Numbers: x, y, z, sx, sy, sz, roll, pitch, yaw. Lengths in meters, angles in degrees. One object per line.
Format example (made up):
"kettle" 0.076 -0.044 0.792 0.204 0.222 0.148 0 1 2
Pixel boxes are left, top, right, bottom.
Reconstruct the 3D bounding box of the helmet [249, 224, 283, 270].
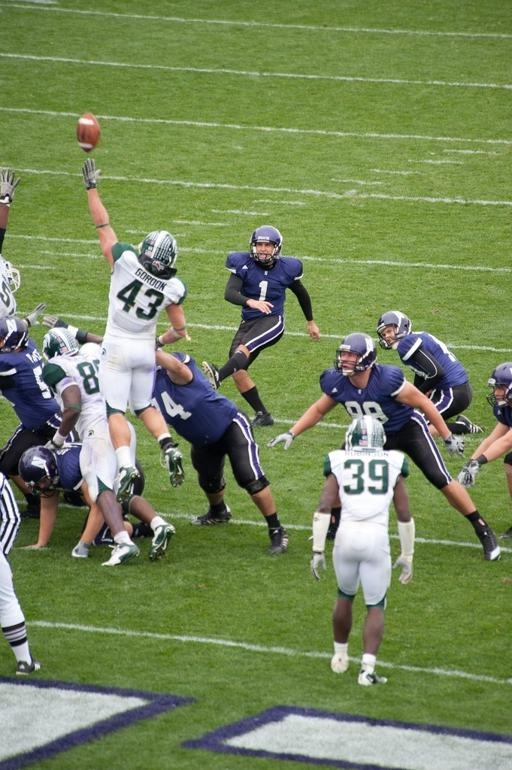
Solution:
"helmet" 0.086 -1.149 8.837 0.273 0.296 0.347 1 7 8

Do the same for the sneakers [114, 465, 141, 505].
"sneakers" -0.717 0.575 5.941 0.107 0.253 0.112 12 29 -19

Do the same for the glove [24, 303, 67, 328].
"glove" -1.848 -0.605 9.314 0.392 0.189 0.571 -10 10 -16

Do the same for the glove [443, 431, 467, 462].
"glove" 1.303 0.395 7.156 0.123 0.201 0.272 -11 -21 37

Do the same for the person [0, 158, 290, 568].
"person" -0.546 -0.163 6.393 1.183 2.281 1.047 -7 16 -31

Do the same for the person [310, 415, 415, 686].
"person" 0.484 0.771 4.983 0.455 1.172 0.563 4 14 10

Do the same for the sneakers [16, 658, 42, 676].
"sneakers" -1.048 1.285 4.947 0.050 0.056 0.144 10 12 25

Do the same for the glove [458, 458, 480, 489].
"glove" 1.362 0.563 6.735 0.083 0.189 0.119 26 -13 -1

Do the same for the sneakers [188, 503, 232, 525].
"sneakers" -0.325 0.844 7.066 0.307 0.185 0.101 -1 15 -10

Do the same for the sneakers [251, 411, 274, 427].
"sneakers" 0.012 0.276 8.671 0.251 0.092 0.079 -5 7 -20

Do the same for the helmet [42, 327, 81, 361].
"helmet" -1.236 -0.254 6.681 0.199 0.211 0.230 19 29 -23

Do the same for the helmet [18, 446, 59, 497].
"helmet" -1.234 0.506 6.320 0.215 0.251 0.261 3 -5 28

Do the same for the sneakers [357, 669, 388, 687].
"sneakers" 0.535 1.339 4.902 0.148 0.089 0.049 -16 34 -32

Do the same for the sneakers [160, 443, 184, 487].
"sneakers" -0.493 0.479 6.098 0.113 0.273 0.138 -17 24 -4

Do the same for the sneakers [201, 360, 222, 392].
"sneakers" -0.313 -0.080 7.602 0.123 0.241 0.095 -27 15 -30

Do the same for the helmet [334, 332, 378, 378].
"helmet" 0.561 -0.162 5.997 0.211 0.255 0.239 2 13 3

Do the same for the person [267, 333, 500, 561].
"person" 0.838 0.428 6.852 1.308 1.309 0.848 -21 33 -22

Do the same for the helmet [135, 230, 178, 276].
"helmet" -0.565 -0.769 6.219 0.235 0.251 0.236 1 8 -4
